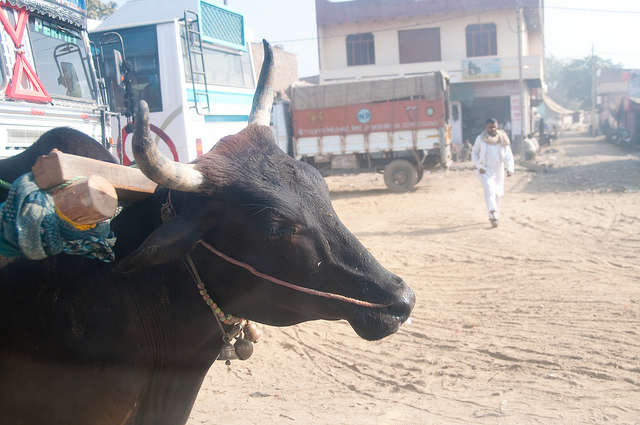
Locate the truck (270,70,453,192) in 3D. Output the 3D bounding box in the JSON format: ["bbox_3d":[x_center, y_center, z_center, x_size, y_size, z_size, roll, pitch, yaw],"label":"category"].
[{"bbox_3d":[1.109,-2.081,18.268,4.436,3.005,2.632,-2,5,9],"label":"truck"}]

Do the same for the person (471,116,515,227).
[{"bbox_3d":[3.234,-0.770,12.711,0.726,1.974,0.645,-11,14,-35],"label":"person"}]

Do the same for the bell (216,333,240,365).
[{"bbox_3d":[-0.754,1.103,5.550,0.165,0.305,0.172,-6,-16,7],"label":"bell"}]
